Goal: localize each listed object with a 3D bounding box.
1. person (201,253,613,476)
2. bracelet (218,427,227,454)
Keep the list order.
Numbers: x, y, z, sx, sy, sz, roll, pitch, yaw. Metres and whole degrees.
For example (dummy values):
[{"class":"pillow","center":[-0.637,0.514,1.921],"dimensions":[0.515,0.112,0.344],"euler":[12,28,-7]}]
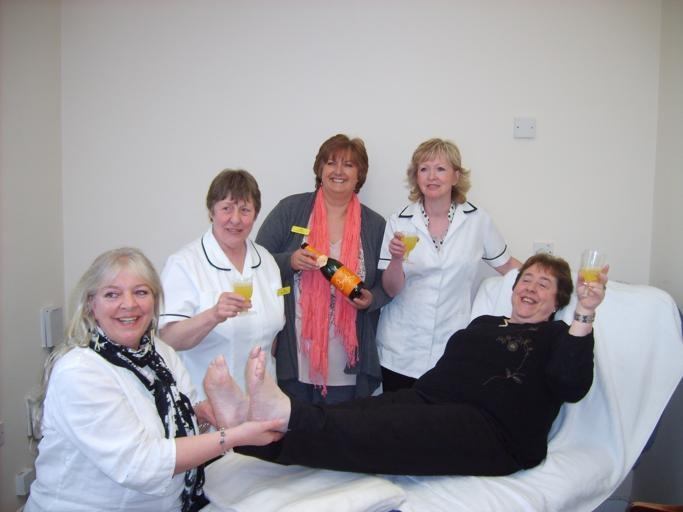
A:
[{"class":"person","center":[0.277,0.510,2.887],"dimensions":[1.823,1.067,0.911],"euler":[7,-5,-20]},{"class":"bracelet","center":[-0.467,0.728,2.211],"dimensions":[0.045,0.079,0.077],"euler":[5,-24,-5]}]
